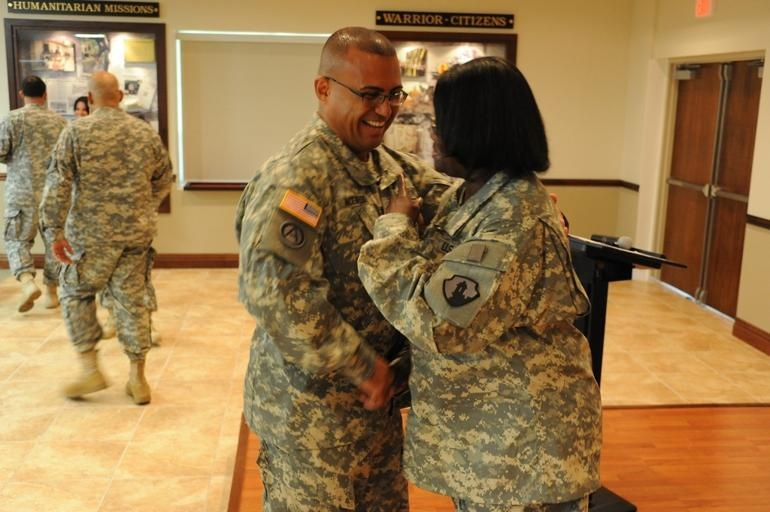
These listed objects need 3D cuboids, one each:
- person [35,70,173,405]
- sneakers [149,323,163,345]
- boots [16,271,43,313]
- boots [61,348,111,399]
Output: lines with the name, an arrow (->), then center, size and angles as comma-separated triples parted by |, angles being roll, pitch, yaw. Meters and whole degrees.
person -> -1.999, -0.118, 4.421 | 0.787, 2.343, 0.639 | -2, 15, -18
sneakers -> -2.043, 0.701, 5.439 | 0.070, 0.170, 0.158 | 1, -1, 4
boots -> -3.578, 0.378, 6.136 | 0.160, 0.404, 0.390 | 6, 40, -45
boots -> -2.234, 0.869, 4.409 | 0.342, 0.308, 0.148 | -11, -6, -35
